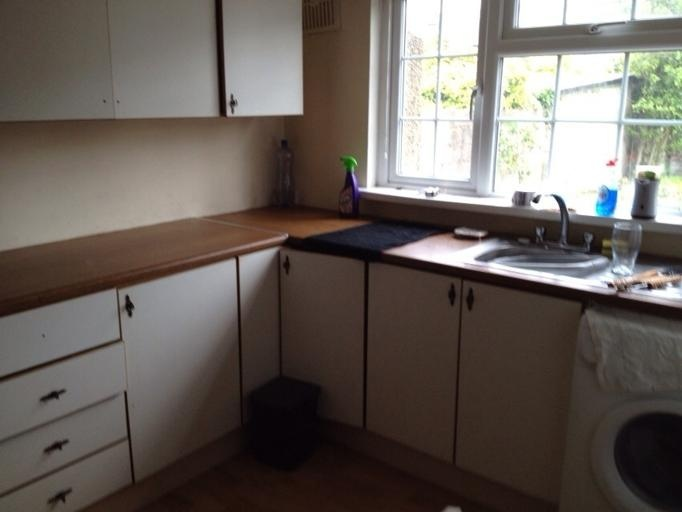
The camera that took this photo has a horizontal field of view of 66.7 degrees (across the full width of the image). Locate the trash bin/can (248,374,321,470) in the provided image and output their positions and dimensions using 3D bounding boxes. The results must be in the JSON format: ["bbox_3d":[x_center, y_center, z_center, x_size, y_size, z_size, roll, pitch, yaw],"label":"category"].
[{"bbox_3d":[-0.296,0.806,2.751,0.348,0.400,0.371,8,11,37],"label":"trash bin/can"}]

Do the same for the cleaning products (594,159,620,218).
[{"bbox_3d":[1.285,-0.306,2.476,0.112,0.264,0.120,9,0,-9],"label":"cleaning products"}]

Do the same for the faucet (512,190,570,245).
[{"bbox_3d":[1.018,-0.222,2.604,0.174,0.234,0.349,-9,20,-32],"label":"faucet"}]

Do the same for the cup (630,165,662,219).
[{"bbox_3d":[1.394,-0.278,2.362,0.105,0.218,0.049,8,17,24],"label":"cup"}]

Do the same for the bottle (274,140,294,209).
[{"bbox_3d":[-0.376,-0.549,3.401,0.127,0.423,0.116,1,15,0],"label":"bottle"}]

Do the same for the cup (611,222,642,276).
[{"bbox_3d":[1.188,-0.041,2.163,0.099,0.209,0.154,10,18,30],"label":"cup"}]

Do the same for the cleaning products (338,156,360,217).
[{"bbox_3d":[0.049,-0.421,3.105,0.120,0.344,0.108,3,15,9],"label":"cleaning products"}]
